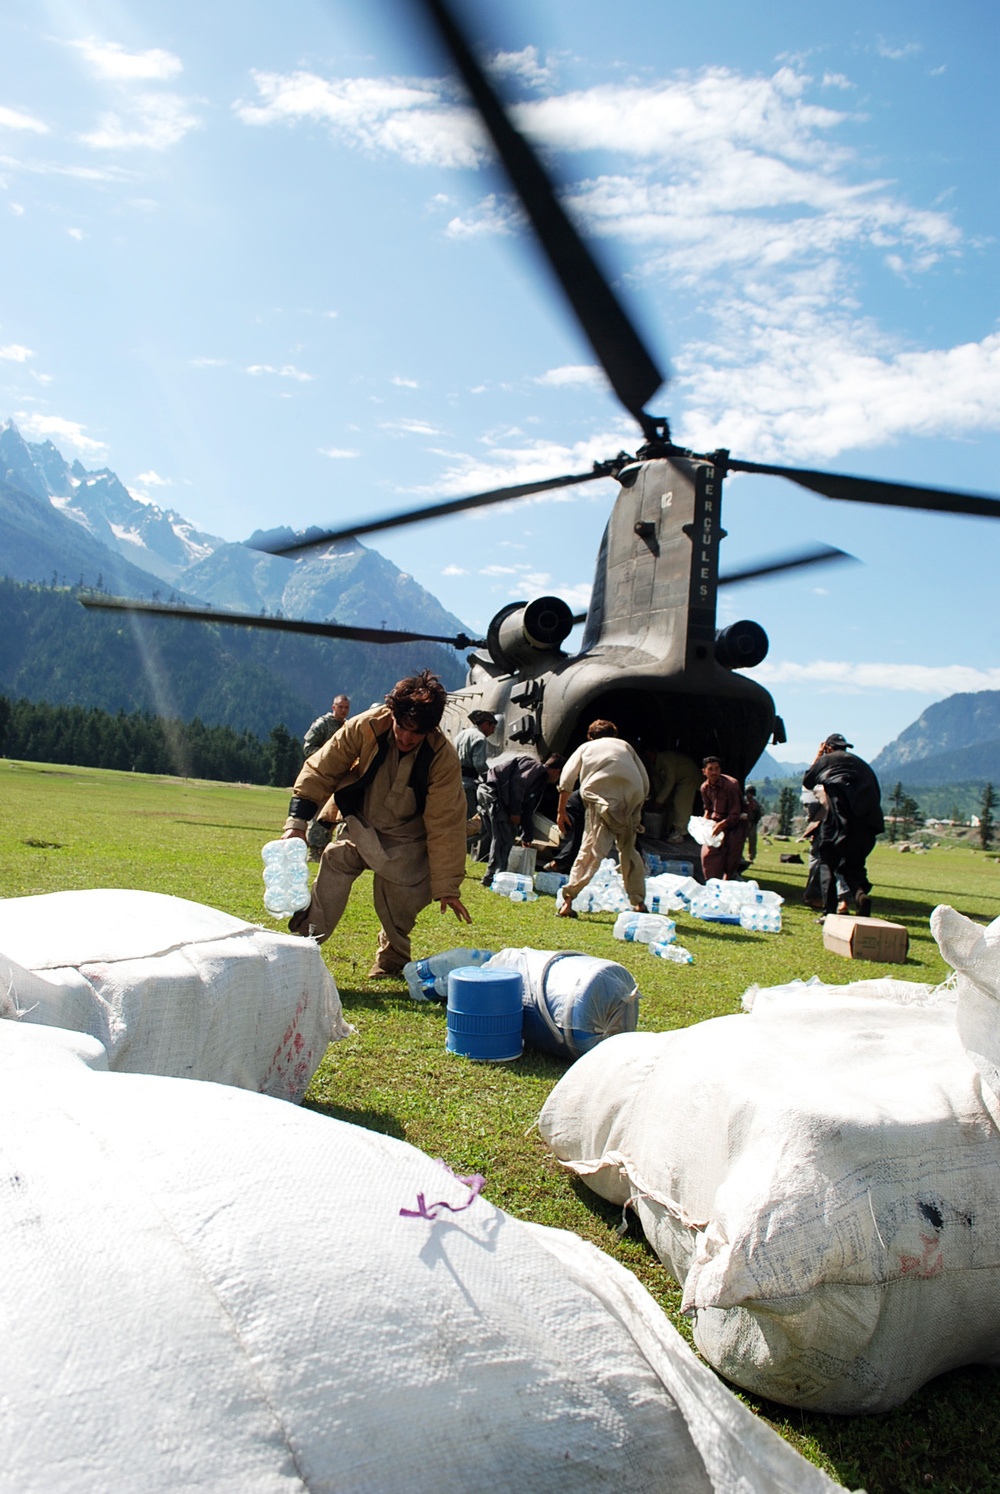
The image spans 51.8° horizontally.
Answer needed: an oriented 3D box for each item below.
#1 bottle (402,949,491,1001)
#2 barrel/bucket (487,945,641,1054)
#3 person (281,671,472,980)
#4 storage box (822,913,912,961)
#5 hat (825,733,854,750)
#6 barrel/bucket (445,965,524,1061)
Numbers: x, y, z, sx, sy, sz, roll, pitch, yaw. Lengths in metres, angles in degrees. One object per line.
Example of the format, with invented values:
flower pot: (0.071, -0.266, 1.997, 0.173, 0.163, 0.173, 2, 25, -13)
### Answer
bottle: (-0.266, 1.135, 5.157, 0.415, 0.250, 0.165, -10, 3, 1)
barrel/bucket: (0.241, 1.041, 4.206, 0.345, 0.308, 0.474, -23, 12, -32)
person: (-0.641, 0.434, 5.665, 1.053, 1.493, 0.905, 7, -3, 7)
storage box: (2.784, 1.432, 7.704, 0.359, 0.240, 0.478, 1, 0, -14)
hat: (2.640, -0.020, 8.049, 0.143, 0.124, 0.226, 5, -12, 0)
barrel/bucket: (-0.083, 1.096, 4.335, 0.337, 0.344, 0.339, -1, -2, 0)
